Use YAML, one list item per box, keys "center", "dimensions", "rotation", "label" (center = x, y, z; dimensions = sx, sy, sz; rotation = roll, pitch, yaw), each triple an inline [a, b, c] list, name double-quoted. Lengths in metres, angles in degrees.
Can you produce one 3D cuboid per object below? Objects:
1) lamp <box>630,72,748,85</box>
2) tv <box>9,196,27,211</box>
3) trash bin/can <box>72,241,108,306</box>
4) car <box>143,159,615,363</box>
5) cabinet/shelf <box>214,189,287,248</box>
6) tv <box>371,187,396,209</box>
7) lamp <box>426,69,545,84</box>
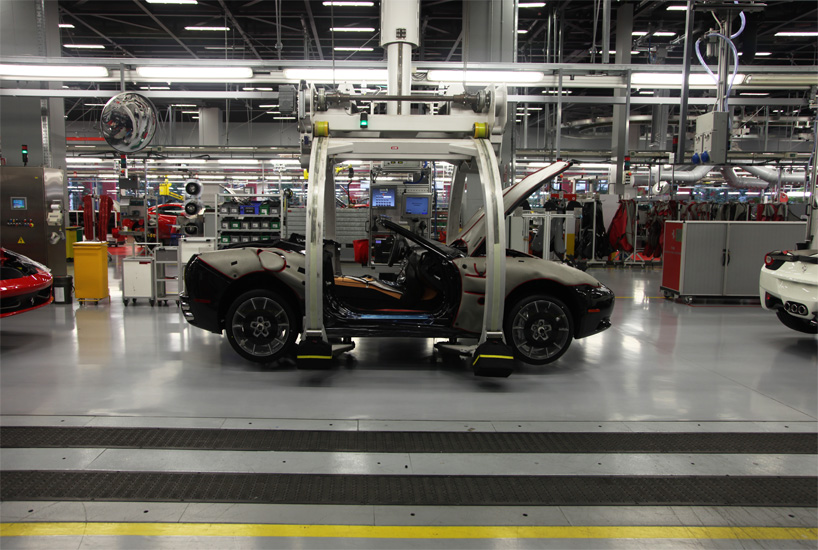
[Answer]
- center: [5.172, -3.695, 11.642]
  dimensions: [1.564, 0.147, 0.252]
  rotation: [3, -20, 3]
  label: "lamp"
- center: [-7.655, -1.410, 12.112]
  dimensions: [0.280, 0.246, 0.109]
  rotation: [2, 3, -11]
  label: "tv"
- center: [-6.243, -0.047, 12.134]
  dimensions: [0.613, 1.214, 0.429]
  rotation: [-3, 9, -23]
  label: "trash bin/can"
- center: [-0.393, -0.235, 9.396]
  dimensions: [5.979, 2.839, 2.689]
  rotation: [0, 2, -4]
  label: "car"
- center: [-3.230, -1.113, 12.558]
  dimensions: [1.610, 1.430, 0.728]
  rotation: [0, -2, -6]
  label: "cabinet/shelf"
- center: [-0.679, -2.152, 17.516]
  dimensions: [0.904, 0.769, 0.493]
  rotation: [2, 4, -1]
  label: "tv"
- center: [1.381, -3.873, 12.070]
  dimensions: [2.060, 0.349, 0.162]
  rotation: [-1, -30, -3]
  label: "lamp"
